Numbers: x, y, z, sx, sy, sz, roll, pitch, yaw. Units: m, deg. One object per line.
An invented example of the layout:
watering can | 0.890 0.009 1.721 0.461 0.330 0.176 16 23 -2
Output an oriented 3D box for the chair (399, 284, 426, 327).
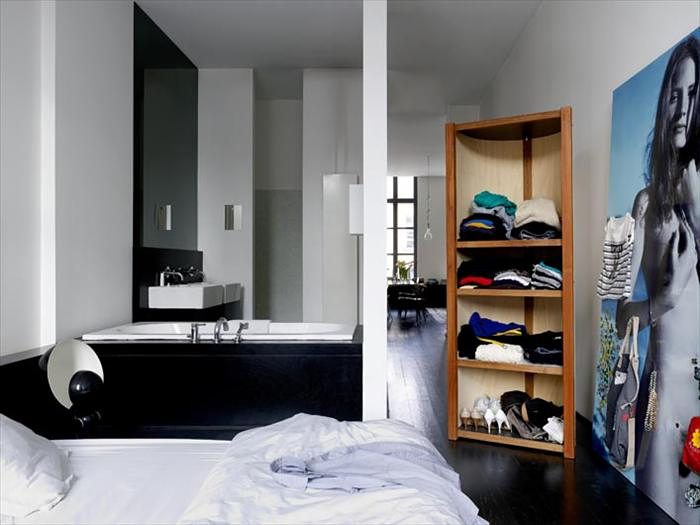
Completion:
chair | 1.230 0.822 11.548 0.621 0.855 0.635 -3 -6 32

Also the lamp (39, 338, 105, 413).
lamp | -1.646 0.670 3.370 0.326 0.373 0.194 -2 1 -33

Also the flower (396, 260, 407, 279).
flower | 1.243 0.188 13.975 0.316 0.581 0.343 1 1 19

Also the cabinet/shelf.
cabinet/shelf | 1.279 0.096 4.621 1.003 2.629 0.846 -1 1 23

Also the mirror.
mirror | -0.660 -0.813 6.509 2.026 4.503 2.263 0 2 0
